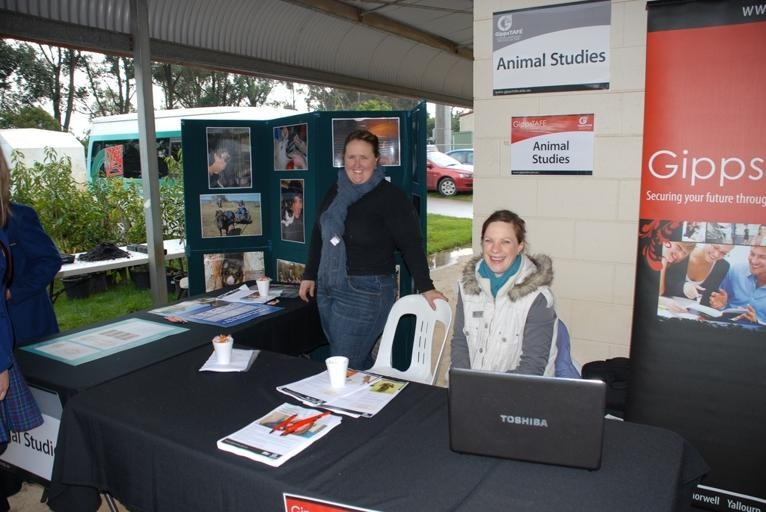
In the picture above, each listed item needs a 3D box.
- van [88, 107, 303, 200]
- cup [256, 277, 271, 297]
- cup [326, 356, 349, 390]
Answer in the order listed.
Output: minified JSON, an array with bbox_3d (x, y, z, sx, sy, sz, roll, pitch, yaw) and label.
[{"bbox_3d":[-4.185,-2.042,9.259,4.347,1.309,1.329,6,11,37],"label":"van"},{"bbox_3d":[-0.936,0.226,3.870,0.130,0.147,0.131,-1,-4,0],"label":"cup"},{"bbox_3d":[-0.230,0.584,2.544,0.138,0.154,0.144,0,-3,0],"label":"cup"}]
